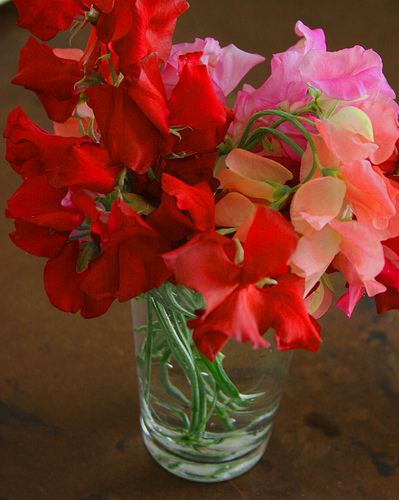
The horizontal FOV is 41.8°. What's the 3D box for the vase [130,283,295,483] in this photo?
[{"bbox_3d":[0.010,0.121,0.471,0.139,0.152,0.122,-3,-4,25],"label":"vase"}]
